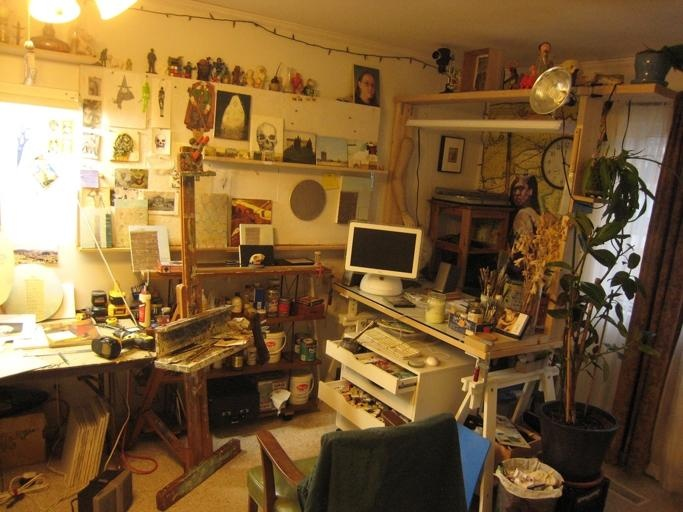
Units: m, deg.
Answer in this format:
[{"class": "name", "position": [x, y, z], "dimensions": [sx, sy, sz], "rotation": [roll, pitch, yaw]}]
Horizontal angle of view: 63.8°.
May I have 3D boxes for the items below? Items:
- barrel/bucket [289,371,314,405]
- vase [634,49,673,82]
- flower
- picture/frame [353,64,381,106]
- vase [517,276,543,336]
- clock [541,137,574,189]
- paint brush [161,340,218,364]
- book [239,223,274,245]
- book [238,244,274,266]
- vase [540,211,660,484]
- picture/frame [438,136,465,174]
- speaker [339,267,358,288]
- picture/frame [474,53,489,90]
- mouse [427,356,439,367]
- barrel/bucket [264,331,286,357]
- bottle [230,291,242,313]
[{"class": "barrel/bucket", "position": [-0.315, 1.013, 4.248], "dimensions": [0.216, 0.194, 0.217], "rotation": [2, 6, 0]}, {"class": "vase", "position": [1.797, -1.083, 3.188], "dimensions": [0.192, 0.182, 0.207], "rotation": [5, 9, 37]}, {"class": "flower", "position": [1.320, -0.019, 3.464], "dimensions": [0.229, 0.436, 0.355], "rotation": [2, 10, -15]}, {"class": "picture/frame", "position": [0.186, -1.354, 4.313], "dimensions": [0.327, 0.381, 0.040], "rotation": [-4, 9, -32]}, {"class": "vase", "position": [1.189, 0.327, 3.404], "dimensions": [0.132, 0.340, 0.175], "rotation": [3, 8, 12]}, {"class": "clock", "position": [1.690, -0.727, 4.286], "dimensions": [0.140, 0.428, 0.309], "rotation": [0, 7, -9]}, {"class": "paint brush", "position": [-0.854, 0.555, 3.098], "dimensions": [0.364, 0.073, 0.143], "rotation": [-5, 9, -43]}, {"class": "book", "position": [-0.631, -0.159, 4.070], "dimensions": [0.237, 0.156, 0.048], "rotation": [2, 0, -30]}, {"class": "book", "position": [-0.616, -0.005, 3.996], "dimensions": [0.245, 0.147, 0.117], "rotation": [-1, 7, -18]}, {"class": "vase", "position": [1.565, 0.553, 3.428], "dimensions": [0.390, 2.108, 0.623], "rotation": [-5, 14, -42]}, {"class": "picture/frame", "position": [0.936, -0.886, 4.738], "dimensions": [0.330, 0.398, 0.046], "rotation": [1, 7, -31]}, {"class": "speaker", "position": [0.042, 0.162, 4.369], "dimensions": [0.159, 0.155, 0.112], "rotation": [20, 20, 35]}, {"class": "picture/frame", "position": [1.016, -1.339, 3.981], "dimensions": [0.043, 0.259, 0.110], "rotation": [-6, 10, -42]}, {"class": "mouse", "position": [0.579, 0.674, 3.496], "dimensions": [0.059, 0.036, 0.058], "rotation": [0, 8, 5]}, {"class": "barrel/bucket", "position": [-0.496, 0.661, 4.151], "dimensions": [0.162, 0.142, 0.159], "rotation": [1, 7, 0]}, {"class": "bottle", "position": [-0.780, 0.349, 4.087], "dimensions": [0.089, 0.131, 0.198], "rotation": [0, 7, -11]}]
